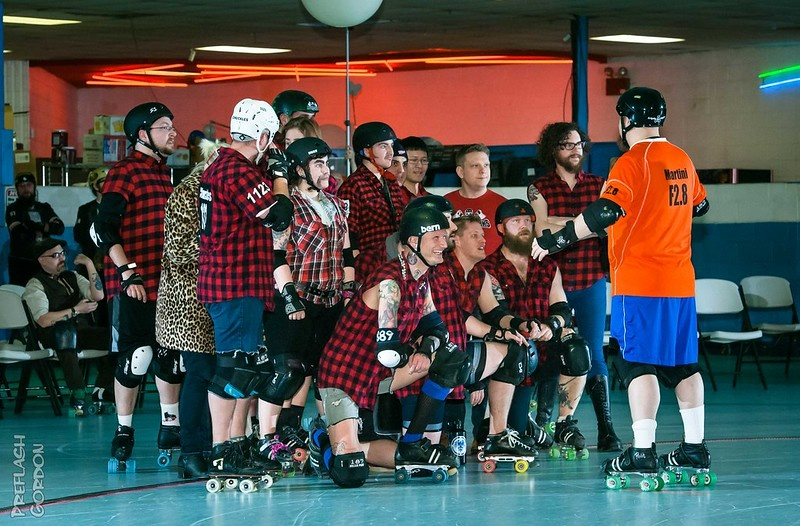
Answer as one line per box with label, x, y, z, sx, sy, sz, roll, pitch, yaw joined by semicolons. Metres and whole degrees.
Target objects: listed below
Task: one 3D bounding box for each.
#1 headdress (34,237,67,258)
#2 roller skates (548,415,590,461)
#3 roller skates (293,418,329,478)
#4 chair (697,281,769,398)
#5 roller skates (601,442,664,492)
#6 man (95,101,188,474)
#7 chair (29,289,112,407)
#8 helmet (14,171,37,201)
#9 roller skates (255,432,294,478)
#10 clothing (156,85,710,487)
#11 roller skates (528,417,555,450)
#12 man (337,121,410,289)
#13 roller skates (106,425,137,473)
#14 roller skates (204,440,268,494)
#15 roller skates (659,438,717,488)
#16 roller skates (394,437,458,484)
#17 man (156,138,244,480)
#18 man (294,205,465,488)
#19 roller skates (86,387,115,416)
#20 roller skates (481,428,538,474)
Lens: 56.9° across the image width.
headdress;-4.045;-0.180;8.517;0.308;0.157;0.237;-21;3;3
roller skates;1.329;1.360;5.769;0.231;0.297;0.402;3;-4;-15
roller skates;-0.606;1.273;5.123;0.163;0.230;0.500;0;2;-4
chair;4.087;0.881;9.237;0.814;1.393;0.856;-2;-1;9
roller skates;1.526;1.329;4.859;0.400;0.297;0.205;1;0;23
man;-1.849;0.151;5.562;0.750;2.665;0.930;3;3;23
chair;-3.634;0.661;8.156;0.924;1.786;0.693;-7;-6;38
helmet;-5.291;-1.079;10.540;0.293;0.396;0.401;-5;-14;-12
roller skates;-0.874;1.344;5.296;0.352;0.254;0.256;-2;-2;20
clothing;0.588;0.311;6.569;3.042;3.804;1.805;1;-7;3
roller skates;1.123;1.375;5.912;0.155;0.129;0.360;-25;-56;30
man;-0.232;-0.321;6.359;0.477;1.719;0.637;9;13;40
roller skates;-1.978;1.324;5.310;0.177;0.326;0.179;1;-6;-7
roller skates;-1.085;1.326;4.831;0.386;0.318;0.272;0;-4;5
roller skates;1.887;1.321;4.928;0.203;0.295;0.410;9;-14;-31
roller skates;0.168;1.315;4.954;0.360;0.264;0.253;-3;-2;3
man;-1.449;0.278;5.378;0.731;2.365;0.840;-3;7;-31
man;0.007;0.531;5.006;1.062;1.912;0.894;6;8;0
roller skates;-3.167;1.449;7.789;0.288;0.326;0.222;6;0;18
roller skates;0.772;1.337;5.256;0.294;0.231;0.327;-1;-3;3
